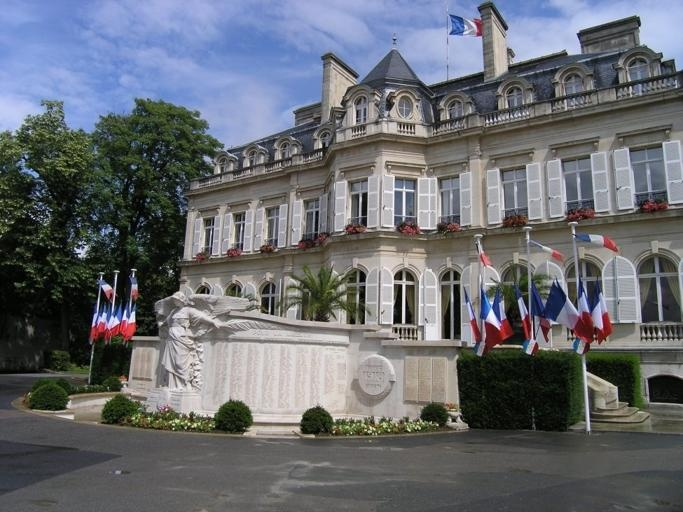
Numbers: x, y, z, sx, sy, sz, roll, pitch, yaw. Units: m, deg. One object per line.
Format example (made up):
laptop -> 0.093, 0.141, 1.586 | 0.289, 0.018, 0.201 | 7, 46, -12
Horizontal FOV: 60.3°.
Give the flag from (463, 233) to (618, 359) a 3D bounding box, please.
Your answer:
flag -> 8.680, 1.742, 24.891 | 5.952, 5.516, 0.657 | -4, -25, 24
